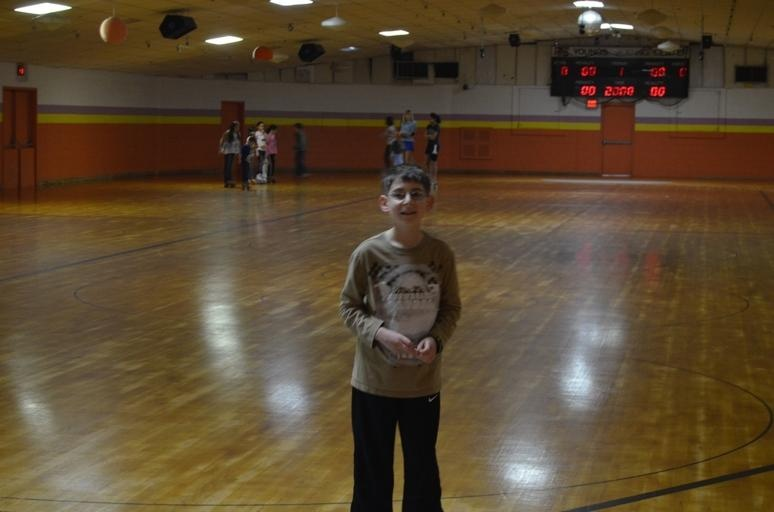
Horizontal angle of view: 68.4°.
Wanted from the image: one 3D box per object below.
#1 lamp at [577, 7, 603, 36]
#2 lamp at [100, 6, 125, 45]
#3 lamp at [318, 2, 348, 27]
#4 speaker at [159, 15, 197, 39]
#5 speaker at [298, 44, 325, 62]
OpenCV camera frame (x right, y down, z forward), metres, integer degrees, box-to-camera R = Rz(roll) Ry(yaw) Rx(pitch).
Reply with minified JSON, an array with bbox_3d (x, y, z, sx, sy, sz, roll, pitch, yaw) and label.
[{"bbox_3d":[4.518,-5.253,12.757,0.394,0.562,0.831,3,13,14],"label":"lamp"},{"bbox_3d":[-5.123,-4.347,10.742,0.491,0.663,0.478,2,13,11],"label":"lamp"},{"bbox_3d":[-1.210,-5.357,12.846,0.476,0.494,1.054,-1,13,-6],"label":"lamp"},{"bbox_3d":[-4.337,-4.813,11.803,0.546,0.490,0.729,-10,16,-36],"label":"speaker"},{"bbox_3d":[-2.207,-5.942,16.370,0.727,0.315,0.550,-16,-14,33],"label":"speaker"}]
